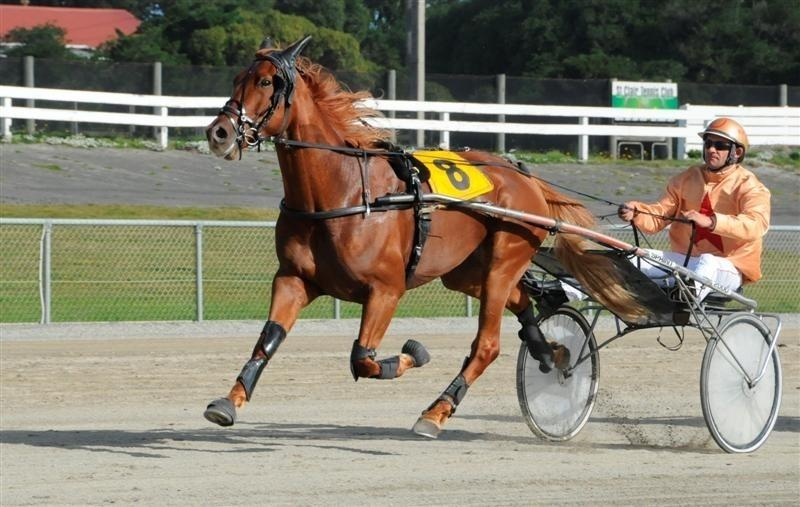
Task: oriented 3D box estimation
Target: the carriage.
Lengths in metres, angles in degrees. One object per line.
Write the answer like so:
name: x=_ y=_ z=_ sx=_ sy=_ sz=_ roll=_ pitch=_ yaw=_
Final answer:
carriage: x=1.065 y=0.392 z=23.657 sx=9.526 sy=4.836 sz=3.874 roll=7 pitch=-7 yaw=-42
